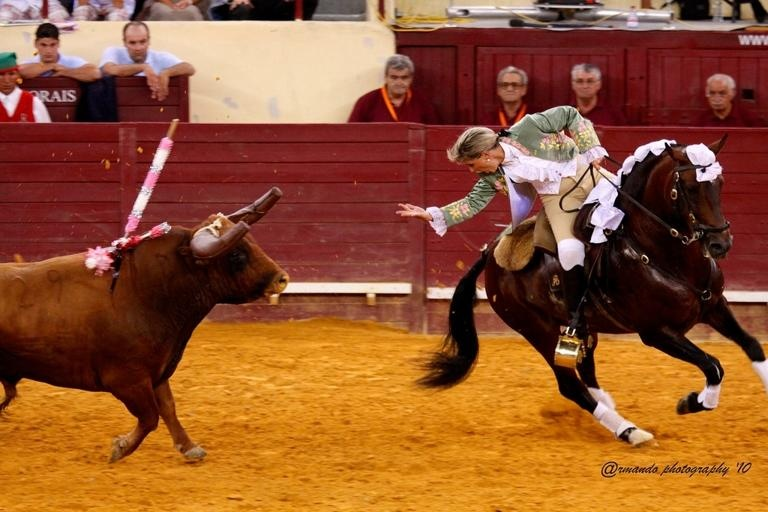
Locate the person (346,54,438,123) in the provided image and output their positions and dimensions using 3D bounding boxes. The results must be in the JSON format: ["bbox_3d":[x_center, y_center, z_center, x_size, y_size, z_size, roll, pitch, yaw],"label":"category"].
[{"bbox_3d":[0.042,-1.728,10.656,1.048,0.653,0.464,1,5,-6],"label":"person"}]

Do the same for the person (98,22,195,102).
[{"bbox_3d":[-2.578,-2.054,10.734,0.874,0.630,1.090,-11,25,-33],"label":"person"}]

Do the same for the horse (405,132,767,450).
[{"bbox_3d":[1.628,0.223,7.462,2.201,2.177,0.651,9,22,34],"label":"horse"}]

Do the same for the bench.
[{"bbox_3d":[-2.933,-1.588,10.401,1.196,0.529,0.324,-1,41,-1],"label":"bench"}]
